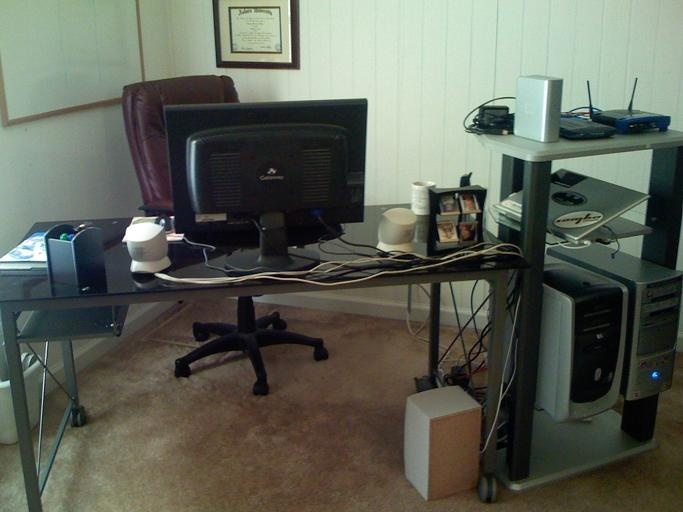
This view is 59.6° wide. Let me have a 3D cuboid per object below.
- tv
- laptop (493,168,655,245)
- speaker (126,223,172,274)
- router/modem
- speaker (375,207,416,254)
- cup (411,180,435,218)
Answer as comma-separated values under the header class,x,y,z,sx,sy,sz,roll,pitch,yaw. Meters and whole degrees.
class,x,y,z,sx,sy,sz,roll,pitch,yaw
tv,-0.280,-0.249,2.216,0.738,0.549,0.283,-2,34,-5
laptop,0.973,-0.225,2.498,0.528,0.173,0.545,-5,21,-11
speaker,-0.756,-0.040,2.324,0.170,0.188,0.199,2,10,4
router/modem,1.258,-0.623,2.519,0.222,0.143,0.214,18,14,15
speaker,0.216,-0.101,2.366,0.154,0.149,0.180,-13,23,-37
cup,0.340,-0.249,2.659,0.110,0.122,0.121,-3,8,0
